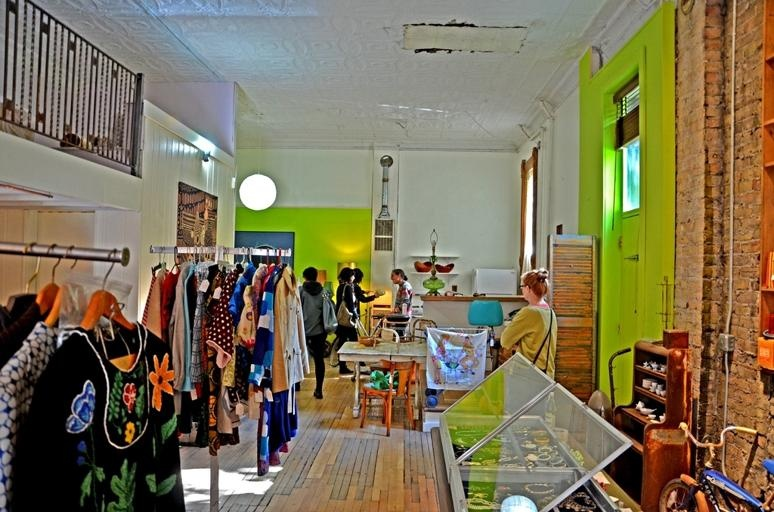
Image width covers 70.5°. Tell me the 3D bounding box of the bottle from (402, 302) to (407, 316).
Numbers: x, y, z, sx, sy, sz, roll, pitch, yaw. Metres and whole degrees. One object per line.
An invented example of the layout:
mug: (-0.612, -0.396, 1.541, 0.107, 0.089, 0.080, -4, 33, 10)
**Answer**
bottle: (0.279, 0.854, 8.867, 0.132, 0.175, 0.055, -2, 7, -31)

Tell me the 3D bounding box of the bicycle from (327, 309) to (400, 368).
bicycle: (-0.414, 1.188, 8.397, 1.395, 0.925, 0.798, -3, -11, 13)

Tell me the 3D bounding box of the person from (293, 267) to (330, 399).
person: (-0.989, 1.062, 7.570, 0.438, 1.758, 0.586, 0, 6, -10)

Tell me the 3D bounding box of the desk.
desk: (-0.024, 1.557, 6.799, 1.058, 0.856, 0.942, 1, 3, 1)

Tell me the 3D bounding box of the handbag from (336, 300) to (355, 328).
handbag: (-0.603, 0.865, 8.071, 0.135, 0.383, 0.365, -4, 8, -18)

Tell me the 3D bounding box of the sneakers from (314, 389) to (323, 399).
sneakers: (-0.927, 1.865, 7.449, 0.116, 0.120, 0.164, 0, 6, -10)

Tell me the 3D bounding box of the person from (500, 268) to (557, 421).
person: (1.319, 0.608, 5.097, 0.480, 0.934, 0.296, 3, 6, 13)

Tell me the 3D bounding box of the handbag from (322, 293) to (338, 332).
handbag: (-0.797, 0.795, 7.587, 0.176, 0.584, 0.460, 1, 6, -5)

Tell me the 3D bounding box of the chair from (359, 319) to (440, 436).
chair: (0.198, 1.468, 7.049, 0.908, 1.097, 1.877, 2, 6, 5)
